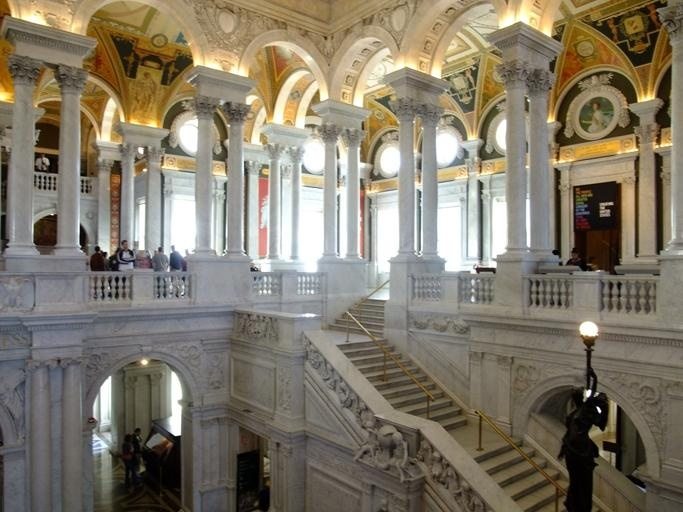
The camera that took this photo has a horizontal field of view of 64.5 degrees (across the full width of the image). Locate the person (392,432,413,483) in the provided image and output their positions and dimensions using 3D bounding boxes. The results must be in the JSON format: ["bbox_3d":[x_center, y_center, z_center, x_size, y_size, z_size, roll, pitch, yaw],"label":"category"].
[{"bbox_3d":[1.222,4.002,10.832,0.285,0.873,0.405,1,-1,-19],"label":"person"}]

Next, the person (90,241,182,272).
[{"bbox_3d":[-6.061,0.135,15.880,1.678,0.680,1.254,-1,1,-27],"label":"person"}]

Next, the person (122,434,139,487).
[{"bbox_3d":[-7.095,6.902,18.266,0.506,1.561,0.775,1,-1,-22],"label":"person"}]

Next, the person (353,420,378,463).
[{"bbox_3d":[0.558,3.880,11.422,0.509,0.860,0.362,-1,-1,44],"label":"person"}]

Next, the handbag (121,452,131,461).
[{"bbox_3d":[-7.133,6.691,18.017,0.357,0.293,0.080,0,-1,15],"label":"handbag"}]

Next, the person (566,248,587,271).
[{"bbox_3d":[7.038,0.095,16.289,0.291,0.820,0.567,3,-4,-13],"label":"person"}]
